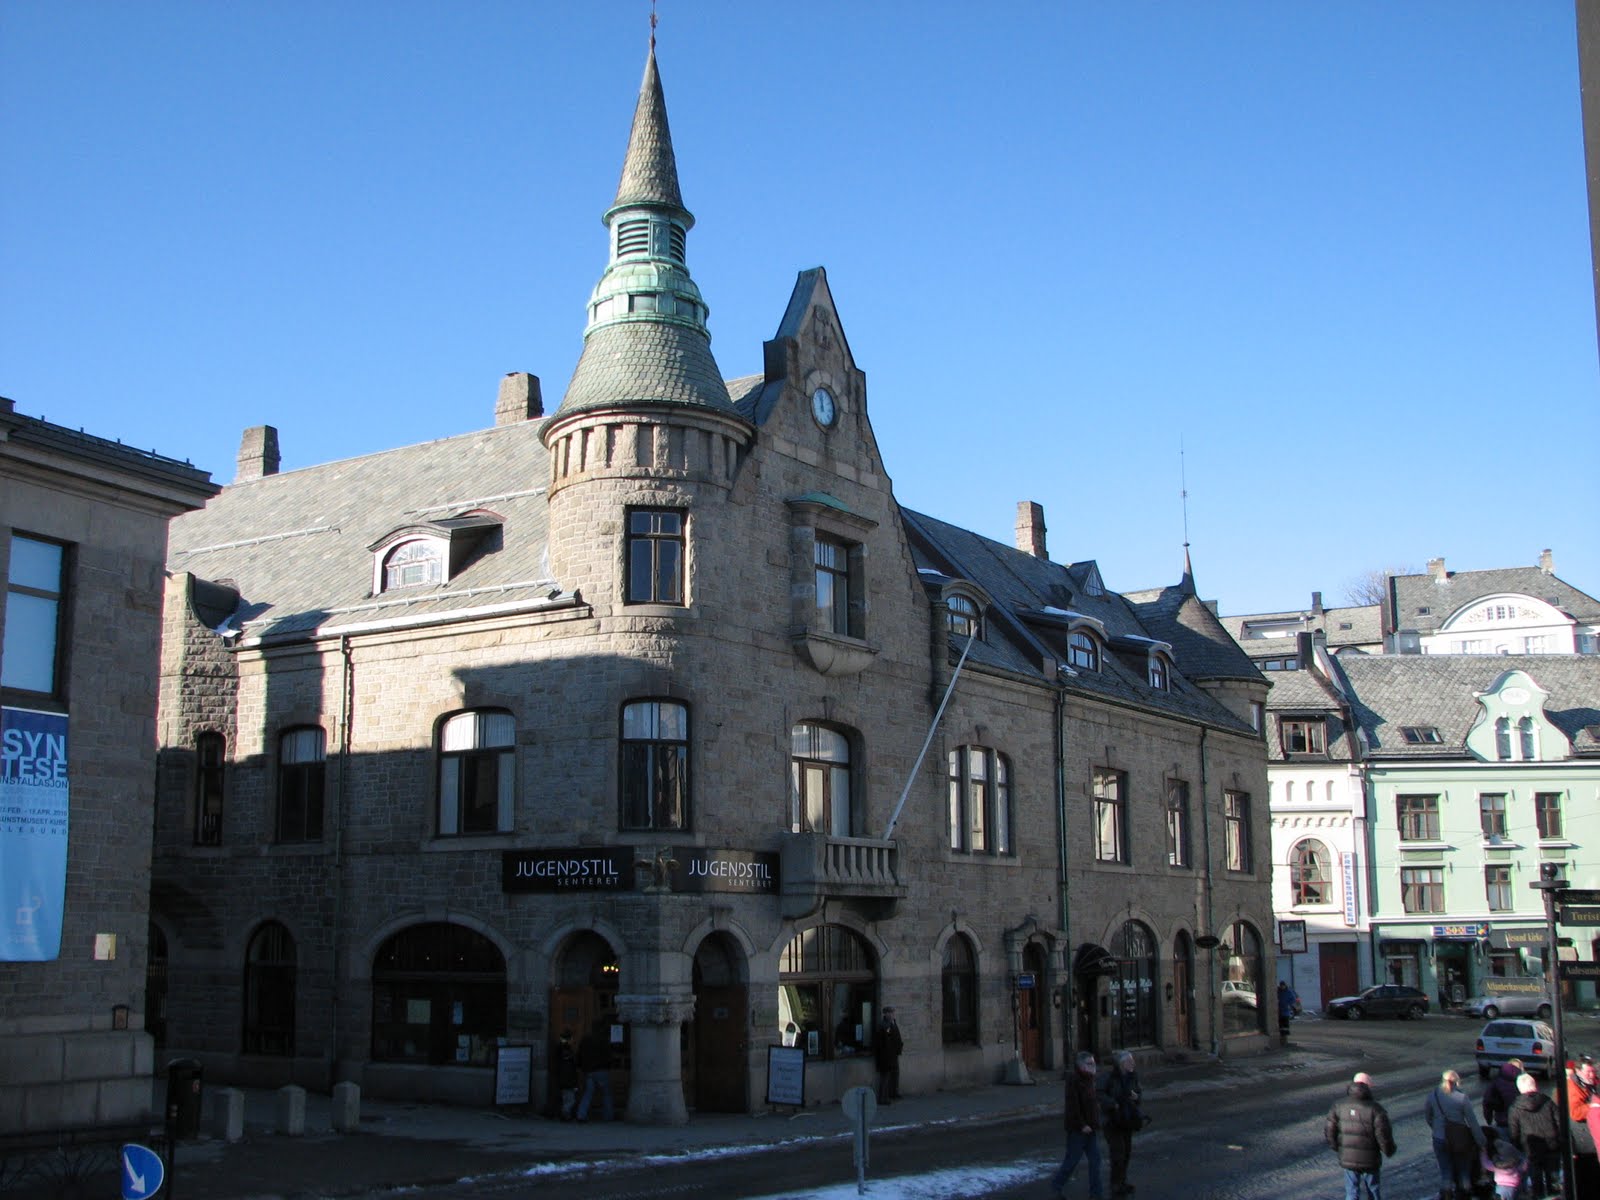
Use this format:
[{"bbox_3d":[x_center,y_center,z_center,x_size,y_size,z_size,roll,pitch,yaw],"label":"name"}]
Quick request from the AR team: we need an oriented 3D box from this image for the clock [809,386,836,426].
[{"bbox_3d":[0.521,-4.706,40.751,0.083,1.057,1.054,-11,-5,34],"label":"clock"}]

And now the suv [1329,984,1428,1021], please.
[{"bbox_3d":[23.128,16.217,67.020,3.217,1.087,1.561,3,-13,0],"label":"suv"}]

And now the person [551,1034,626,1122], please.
[{"bbox_3d":[-4.423,9.962,35.124,0.919,1.882,1.477,3,0,-42],"label":"person"}]
